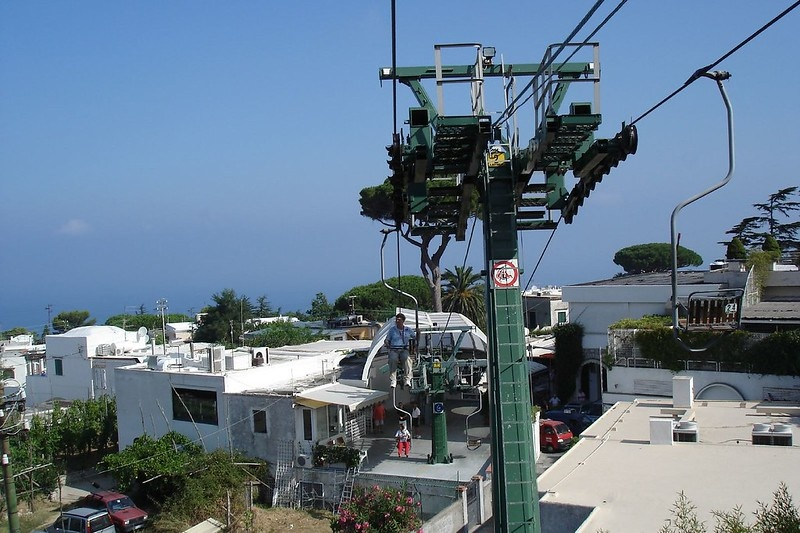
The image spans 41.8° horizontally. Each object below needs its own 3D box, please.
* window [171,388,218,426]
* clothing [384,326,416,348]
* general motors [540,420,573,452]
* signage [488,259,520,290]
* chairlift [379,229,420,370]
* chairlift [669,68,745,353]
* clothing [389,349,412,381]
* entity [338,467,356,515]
[{"bbox_3d":[-10.584,7.174,53.911,2.951,1.878,0.187,-1,-3,26],"label":"window"},{"bbox_3d":[0.013,3.790,50.665,1.633,1.393,0.916,1,-11,-5],"label":"clothing"},{"bbox_3d":[8.092,9.207,56.648,1.555,1.550,2.618,-1,-4,-39],"label":"general motors"},{"bbox_3d":[4.027,0.332,40.155,1.031,1.152,0.088,-1,-1,3],"label":"signage"},{"bbox_3d":[0.002,1.123,43.643,1.555,7.239,0.670,7,42,11],"label":"chairlift"},{"bbox_3d":[10.390,-1.715,35.710,2.389,9.678,0.997,0,0,22],"label":"chairlift"},{"bbox_3d":[0.001,4.763,50.359,1.231,1.757,0.703,-2,-18,4],"label":"clothing"},{"bbox_3d":[-2.485,10.593,50.209,0.896,1.739,0.761,0,-2,-3],"label":"entity"}]
